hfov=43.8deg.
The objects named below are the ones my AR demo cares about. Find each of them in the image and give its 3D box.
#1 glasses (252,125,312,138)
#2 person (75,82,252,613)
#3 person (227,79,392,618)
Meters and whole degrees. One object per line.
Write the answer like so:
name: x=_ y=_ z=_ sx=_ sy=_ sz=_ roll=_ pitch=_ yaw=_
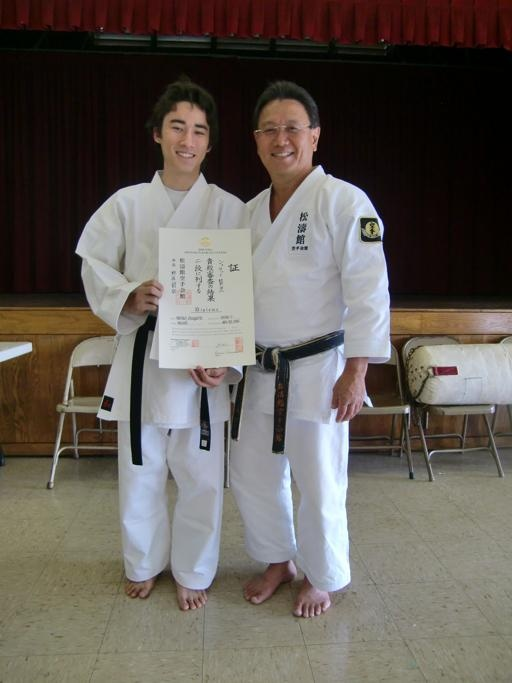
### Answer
glasses: x=0.081 y=-0.617 z=1.879 sx=0.157 sy=0.038 sz=0.062 roll=1 pitch=5 yaw=5
person: x=-0.265 y=0.018 z=1.946 sx=0.429 sy=1.573 sz=0.389 roll=4 pitch=6 yaw=36
person: x=0.150 y=0.024 z=1.933 sx=0.501 sy=1.580 sz=0.275 roll=2 pitch=5 yaw=16
